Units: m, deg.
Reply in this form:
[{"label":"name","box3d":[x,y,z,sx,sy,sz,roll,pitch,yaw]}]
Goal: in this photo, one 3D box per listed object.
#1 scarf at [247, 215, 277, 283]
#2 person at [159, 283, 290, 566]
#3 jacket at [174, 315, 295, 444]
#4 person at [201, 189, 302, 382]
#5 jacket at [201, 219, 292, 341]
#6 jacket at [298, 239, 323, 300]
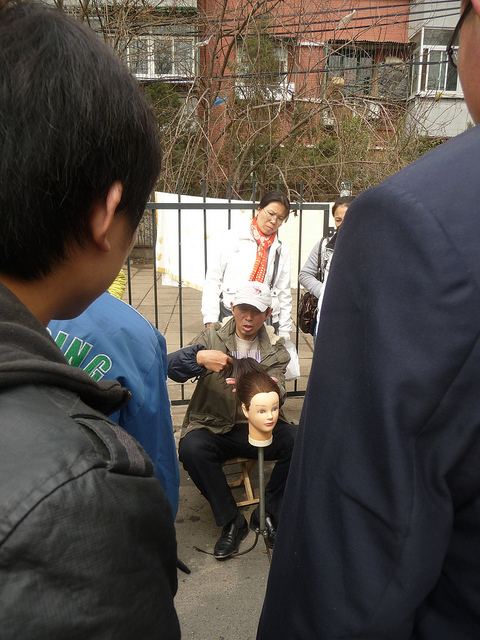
[{"label":"scarf","box3d":[0.169,-0.512,4.400,0.206,0.645,0.074,6,50,-1]},{"label":"person","box3d":[0.027,0.571,3.378,0.839,1.573,0.776,-2,-4,20]},{"label":"jacket","box3d":[0.005,0.377,3.484,0.681,0.843,0.501,4,9,11]},{"label":"person","box3d":[0.130,-0.083,4.757,0.775,2.113,0.532,4,32,-2]},{"label":"jacket","box3d":[0.114,-0.362,4.573,0.723,1.006,0.359,4,26,-13]},{"label":"jacket","box3d":[0.604,-0.447,4.738,0.265,0.403,0.230,-8,3,5]}]
